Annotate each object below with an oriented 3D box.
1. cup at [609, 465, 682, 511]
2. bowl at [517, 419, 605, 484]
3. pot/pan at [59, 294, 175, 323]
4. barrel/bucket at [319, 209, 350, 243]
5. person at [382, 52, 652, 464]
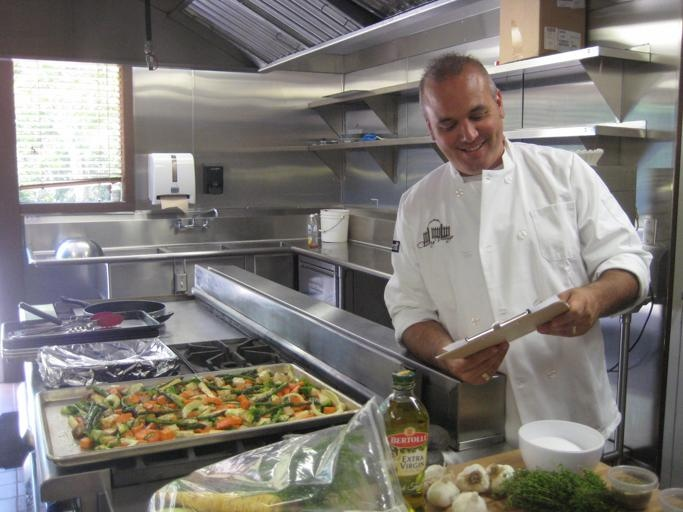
[{"bbox_3d":[0.540,0.401,0.895,0.100,0.037,0.087,-2,3,25],"label":"cup"},{"bbox_3d":[0.424,0.379,0.990,0.146,0.075,0.144,-4,3,0],"label":"bowl"},{"bbox_3d":[-0.927,0.216,2.141,0.334,0.046,0.194,4,4,2],"label":"pot/pan"},{"bbox_3d":[-0.067,-0.280,4.662,0.301,0.274,0.289,-1,10,0],"label":"barrel/bucket"},{"bbox_3d":[0.483,-0.011,1.419,0.763,1.108,0.540,-4,4,9],"label":"person"}]
